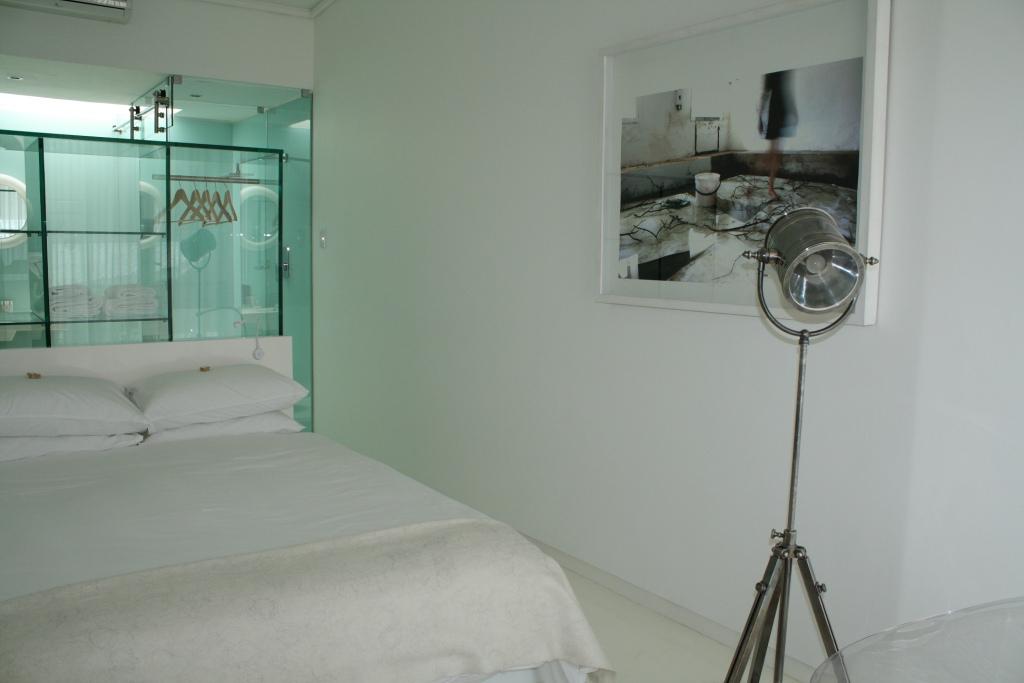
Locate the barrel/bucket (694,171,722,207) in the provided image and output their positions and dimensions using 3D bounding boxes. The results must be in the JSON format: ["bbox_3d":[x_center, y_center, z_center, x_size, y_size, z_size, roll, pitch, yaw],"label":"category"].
[{"bbox_3d":[0.848,-0.667,3.193,0.131,0.149,0.133,-4,18,1],"label":"barrel/bucket"}]

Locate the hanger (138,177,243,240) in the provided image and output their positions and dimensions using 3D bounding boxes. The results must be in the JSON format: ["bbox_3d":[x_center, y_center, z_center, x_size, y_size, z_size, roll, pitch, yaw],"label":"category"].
[{"bbox_3d":[-2.066,-0.865,4.659,0.553,0.300,0.043,-11,19,-37],"label":"hanger"}]

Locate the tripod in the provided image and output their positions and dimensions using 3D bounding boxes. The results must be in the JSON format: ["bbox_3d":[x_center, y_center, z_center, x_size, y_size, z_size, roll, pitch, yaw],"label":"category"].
[{"bbox_3d":[1.034,0.567,2.715,0.461,1.798,0.722,5,16,18],"label":"tripod"}]
